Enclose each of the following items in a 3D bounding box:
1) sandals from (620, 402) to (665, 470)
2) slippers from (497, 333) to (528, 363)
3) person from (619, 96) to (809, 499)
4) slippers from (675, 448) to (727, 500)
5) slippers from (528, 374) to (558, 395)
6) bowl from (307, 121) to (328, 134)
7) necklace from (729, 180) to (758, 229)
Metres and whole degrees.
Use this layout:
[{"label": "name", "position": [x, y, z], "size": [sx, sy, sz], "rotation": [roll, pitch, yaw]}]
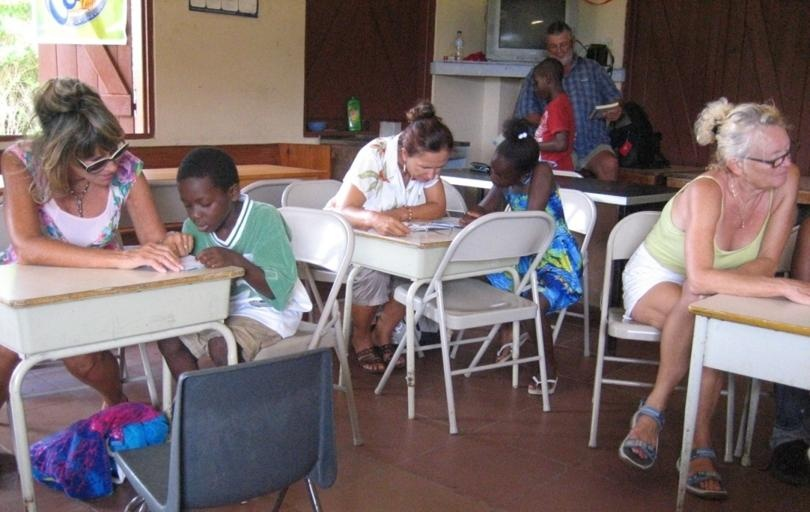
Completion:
[{"label": "sandals", "position": [1.114, 0.875, 3.174], "size": [0.164, 0.371, 0.294], "rotation": [6, 20, 22]}, {"label": "slippers", "position": [0.655, 0.563, 4.089], "size": [0.066, 0.239, 0.112], "rotation": [42, 4, 23]}, {"label": "person", "position": [1.416, 0.114, 3.120], "size": [0.767, 1.606, 0.841], "rotation": [4, 19, 17]}, {"label": "slippers", "position": [1.376, 0.998, 3.111], "size": [0.115, 0.135, 0.331], "rotation": [0, -1, 6]}, {"label": "slippers", "position": [0.804, 0.751, 3.902], "size": [0.155, 0.092, 0.408], "rotation": [-1, -2, 7]}, {"label": "bowl", "position": [-0.889, -1.326, 6.881], "size": [0.158, 0.089, 0.153], "rotation": [1, 3, 0]}, {"label": "necklace", "position": [1.590, -0.247, 3.170], "size": [0.055, 0.356, 0.048], "rotation": [-8, 11, 20]}]
